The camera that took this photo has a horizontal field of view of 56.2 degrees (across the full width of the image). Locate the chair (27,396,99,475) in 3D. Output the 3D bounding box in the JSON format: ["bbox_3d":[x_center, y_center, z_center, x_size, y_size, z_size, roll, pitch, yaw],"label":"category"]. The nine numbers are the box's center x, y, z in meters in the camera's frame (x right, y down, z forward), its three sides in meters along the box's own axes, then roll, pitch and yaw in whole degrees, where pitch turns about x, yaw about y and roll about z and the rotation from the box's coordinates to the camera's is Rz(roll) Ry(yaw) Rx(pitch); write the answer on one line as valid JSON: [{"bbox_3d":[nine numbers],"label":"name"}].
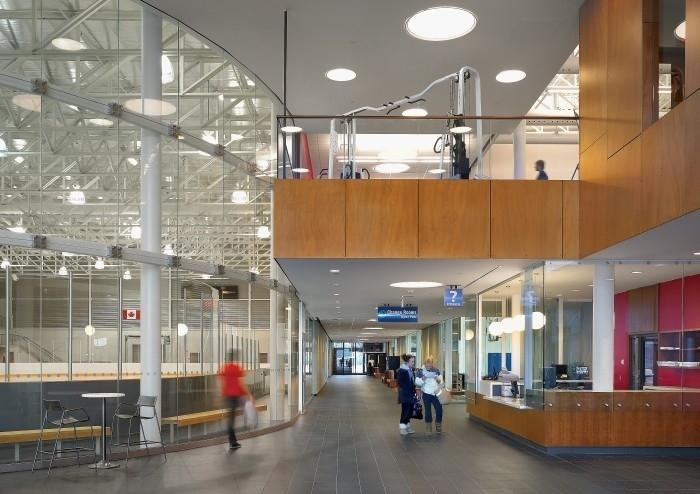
[{"bbox_3d":[-5.243,3.377,12.068,0.953,1.259,0.925,1,-4,-15],"label":"chair"}]

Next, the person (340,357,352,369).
[{"bbox_3d":[-0.463,12.780,72.364,0.967,1.066,1.093,0,1,25],"label":"person"}]

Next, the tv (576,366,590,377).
[{"bbox_3d":[4.709,2.525,13.318,0.196,0.202,0.059,1,-10,-7],"label":"tv"}]

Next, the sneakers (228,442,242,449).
[{"bbox_3d":[-2.418,4.176,13.837,0.097,0.197,0.287,-1,-7,29],"label":"sneakers"}]

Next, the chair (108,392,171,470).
[{"bbox_3d":[-4.111,3.634,13.275,0.847,1.264,0.823,-2,-12,-2],"label":"chair"}]

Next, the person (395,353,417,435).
[{"bbox_3d":[1.420,3.636,16.411,0.465,1.907,0.996,-3,-10,4],"label":"person"}]

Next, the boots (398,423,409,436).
[{"bbox_3d":[1.315,4.413,15.986,0.163,0.253,0.237,-4,-10,10],"label":"boots"}]

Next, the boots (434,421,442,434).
[{"bbox_3d":[2.220,4.490,16.430,0.136,0.248,0.405,-3,-10,6],"label":"boots"}]
